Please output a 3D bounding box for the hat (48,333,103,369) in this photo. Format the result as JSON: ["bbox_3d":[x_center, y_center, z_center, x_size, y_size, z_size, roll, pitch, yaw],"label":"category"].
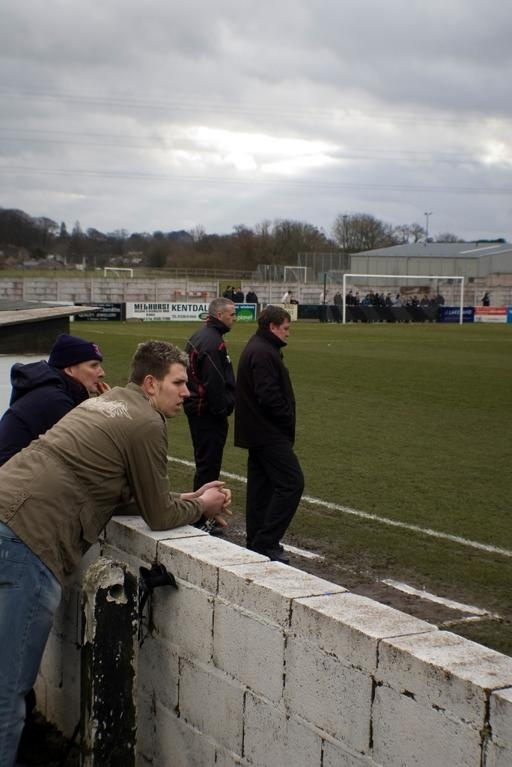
[{"bbox_3d":[-0.876,-0.140,3.390,0.197,0.137,0.148,-16,5,-15],"label":"hat"}]

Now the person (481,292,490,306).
[{"bbox_3d":[14.609,-5.334,44.791,0.378,0.896,1.843,1,7,18],"label":"person"}]

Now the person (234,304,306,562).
[{"bbox_3d":[0.081,0.359,4.993,0.462,1.789,0.846,-1,7,-2],"label":"person"}]
